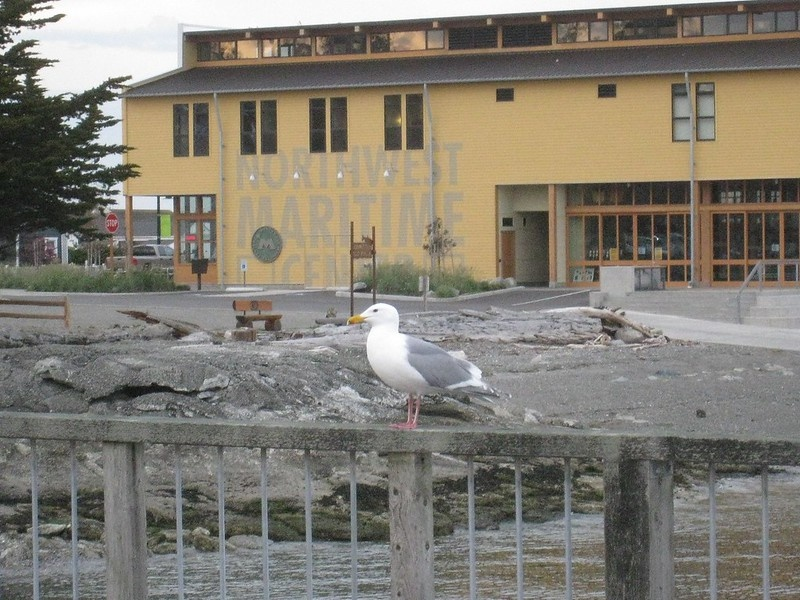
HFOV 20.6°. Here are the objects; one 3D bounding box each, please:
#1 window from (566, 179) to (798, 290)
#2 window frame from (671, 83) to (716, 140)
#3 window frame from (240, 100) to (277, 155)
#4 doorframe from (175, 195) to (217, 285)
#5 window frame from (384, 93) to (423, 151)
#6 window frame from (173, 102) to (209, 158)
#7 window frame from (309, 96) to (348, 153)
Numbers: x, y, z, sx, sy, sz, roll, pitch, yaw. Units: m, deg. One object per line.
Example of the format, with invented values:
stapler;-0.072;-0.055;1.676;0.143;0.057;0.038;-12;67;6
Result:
window;9.369;-2.163;72.752;7.694;3.539;0.798;-2;-1;22
window frame;9.648;-5.986;71.661;1.658;2.459;0.176;0;-2;7
window frame;-4.786;-5.870;75.548;1.624;2.401;0.193;1;6;12
doorframe;-7.139;-2.064;78.132;1.646;3.534;0.189;-1;26;-8
window frame;0.203;-5.918;74.137;1.658;2.261;0.143;2;5;28
window frame;-7.174;-5.801;76.212;1.626;2.386;0.197;2;5;23
window frame;-2.369;-5.917;74.945;1.660;2.287;0.144;2;6;21
